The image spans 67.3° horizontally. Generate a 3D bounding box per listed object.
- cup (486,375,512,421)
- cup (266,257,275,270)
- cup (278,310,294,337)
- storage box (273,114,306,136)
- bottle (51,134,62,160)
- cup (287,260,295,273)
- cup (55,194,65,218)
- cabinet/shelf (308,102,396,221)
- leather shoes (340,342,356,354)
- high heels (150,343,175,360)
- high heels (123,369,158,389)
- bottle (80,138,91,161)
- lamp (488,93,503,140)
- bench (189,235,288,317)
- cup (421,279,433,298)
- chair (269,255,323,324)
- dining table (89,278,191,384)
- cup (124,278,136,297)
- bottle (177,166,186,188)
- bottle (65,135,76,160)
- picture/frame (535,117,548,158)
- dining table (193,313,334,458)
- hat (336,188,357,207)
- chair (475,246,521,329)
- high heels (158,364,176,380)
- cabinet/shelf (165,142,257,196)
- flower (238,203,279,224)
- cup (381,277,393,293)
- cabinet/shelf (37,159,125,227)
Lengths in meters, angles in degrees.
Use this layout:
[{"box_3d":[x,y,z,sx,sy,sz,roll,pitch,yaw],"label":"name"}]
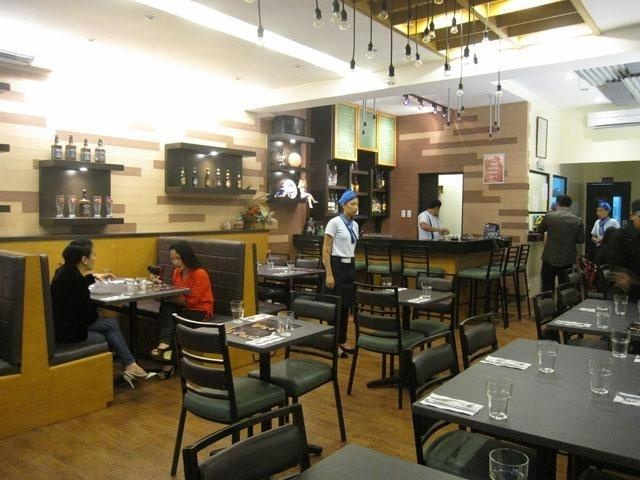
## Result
[{"box_3d":[0.915,0.796,2.461,0.115,0.162,0.232,3,7,20],"label":"cup"},{"box_3d":[-0.686,0.325,6.900,0.126,0.174,0.124,0,-2,0],"label":"cup"},{"box_3d":[-0.260,0.655,3.701,0.137,0.149,0.128,0,4,0],"label":"cup"},{"box_3d":[-0.553,-2.030,8.511,0.613,0.350,0.474,-1,7,-13],"label":"storage box"},{"box_3d":[-3.236,-1.134,5.878,0.132,0.308,0.347,-4,8,-28],"label":"bottle"},{"box_3d":[-0.422,0.370,6.690,0.115,0.178,0.114,-1,3,0],"label":"cup"},{"box_3d":[-3.227,-0.423,5.952,0.107,0.267,0.183,-3,8,-23],"label":"cup"},{"box_3d":[0.557,-1.611,9.268,0.696,2.614,2.453,0,3,33],"label":"cabinet/shelf"},{"box_3d":[0.317,1.309,5.793,0.242,0.086,0.085,-3,-3,36],"label":"leather shoes"},{"box_3d":[-1.642,1.153,4.961,0.130,0.095,0.231,3,0,-11],"label":"high heels"},{"box_3d":[-1.848,1.393,4.840,0.417,0.174,0.139,-6,7,-11],"label":"high heels"},{"box_3d":[-2.991,-1.147,6.120,0.129,0.317,0.390,-3,8,-25],"label":"bottle"},{"box_3d":[3.209,-2.236,8.801,0.217,0.681,0.433,3,7,18],"label":"lamp"},{"box_3d":[-0.917,0.338,5.619,1.424,0.978,0.739,7,9,36],"label":"bench"},{"box_3d":[1.063,0.504,4.852,0.135,0.197,0.128,0,0,0],"label":"cup"},{"box_3d":[-0.372,0.704,6.569,0.981,0.902,0.669,2,-1,38],"label":"chair"},{"box_3d":[-2.011,0.884,5.052,0.948,0.886,0.961,11,12,43],"label":"dining table"},{"box_3d":[-1.964,0.487,4.929,0.098,0.166,0.098,1,3,0],"label":"cup"},{"box_3d":[-2.078,-0.951,7.192,0.114,0.271,0.217,-1,7,-7],"label":"bottle"},{"box_3d":[-3.134,-1.154,6.010,0.139,0.331,0.306,-3,8,-26],"label":"bottle"},{"box_3d":[4.249,-1.976,9.237,0.076,1.031,0.876,0,3,35],"label":"picture/frame"},{"box_3d":[-0.314,0.865,3.814,0.996,0.941,1.006,6,11,36],"label":"dining table"},{"box_3d":[0.306,-0.477,5.562,0.161,0.187,0.221,-1,7,-13],"label":"hat"},{"box_3d":[2.707,0.699,7.340,0.463,0.926,1.197,2,4,32],"label":"chair"},{"box_3d":[-1.634,1.395,5.119,0.079,0.087,0.225,-1,-6,7],"label":"high heels"},{"box_3d":[-1.717,-1.081,7.435,1.403,0.754,0.313,-6,10,-44],"label":"cabinet/shelf"},{"box_3d":[-1.053,-0.433,8.220,0.401,0.220,0.401,2,4,30],"label":"flower"},{"box_3d":[0.653,0.445,4.789,0.116,0.174,0.114,0,-2,0],"label":"cup"},{"box_3d":[-3.076,-0.601,6.058,0.327,0.789,0.951,-1,0,35],"label":"cabinet/shelf"}]
